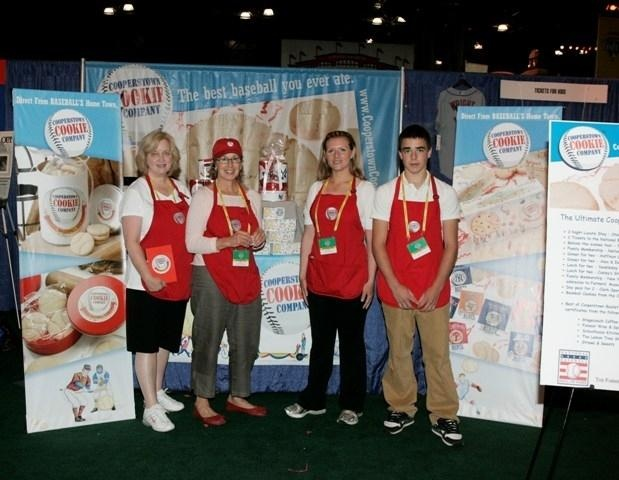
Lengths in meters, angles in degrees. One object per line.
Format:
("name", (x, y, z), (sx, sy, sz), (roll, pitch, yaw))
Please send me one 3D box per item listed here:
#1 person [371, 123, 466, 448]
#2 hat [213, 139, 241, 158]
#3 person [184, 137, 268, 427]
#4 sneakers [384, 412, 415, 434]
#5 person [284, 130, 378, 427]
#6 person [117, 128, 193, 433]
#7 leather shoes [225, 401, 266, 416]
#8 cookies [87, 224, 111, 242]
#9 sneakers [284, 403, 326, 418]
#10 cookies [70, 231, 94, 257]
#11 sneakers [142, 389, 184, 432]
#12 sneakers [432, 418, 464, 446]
("person", (0.761, 0.291, 3.286), (0.644, 2.127, 0.365), (3, 7, 17))
("hat", (-0.549, -0.613, 3.286), (0.174, 0.139, 0.290), (-3, 0, -13))
("person", (-0.576, 0.232, 3.268), (0.526, 1.828, 0.351), (-1, 7, -14))
("sneakers", (0.629, 1.285, 3.384), (0.091, 0.113, 0.254), (1, -1, 32))
("person", (0.165, 0.285, 3.406), (0.604, 2.086, 0.302), (1, 7, 7))
("person", (-1.052, 0.289, 3.312), (0.457, 2.053, 0.389), (-1, 7, -16))
("leather shoes", (-0.480, 1.225, 3.536), (0.273, 0.087, 0.112), (1, 3, 10))
("cookies", (-1.476, -0.058, 3.331), (0.120, 0.079, 0.119), (0, 21, -43))
("sneakers", (-0.037, 1.245, 3.584), (0.261, 0.120, 0.117), (2, 18, -15))
("cookies", (-1.579, 0.030, 3.311), (0.160, 0.166, 0.009), (-2, 7, -18))
("sneakers", (-1.036, 1.194, 3.326), (0.184, 0.086, 0.244), (12, 16, 0))
("sneakers", (0.941, 1.307, 3.253), (0.097, 0.109, 0.235), (1, -3, -15))
